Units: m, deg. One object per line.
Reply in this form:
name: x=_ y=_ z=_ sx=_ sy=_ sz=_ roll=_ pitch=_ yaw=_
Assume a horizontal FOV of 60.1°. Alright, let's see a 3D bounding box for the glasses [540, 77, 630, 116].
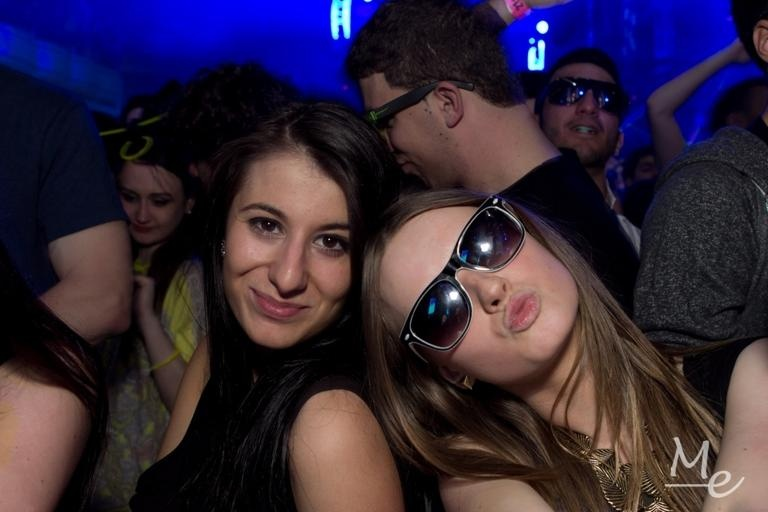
glasses: x=1.151 y=-0.923 z=3.858 sx=0.516 sy=0.233 sz=0.166 roll=1 pitch=17 yaw=14
